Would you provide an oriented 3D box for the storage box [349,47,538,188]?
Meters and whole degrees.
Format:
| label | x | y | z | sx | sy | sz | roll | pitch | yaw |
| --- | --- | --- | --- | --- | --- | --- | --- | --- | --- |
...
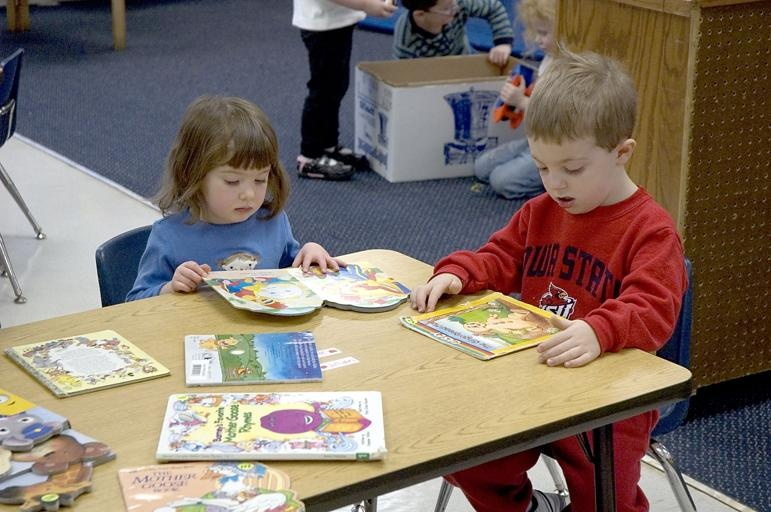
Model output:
| label | x | y | z | sx | sy | sz | roll | pitch | yaw |
| --- | --- | --- | --- | --- | --- | --- | --- | --- | --- |
| storage box | 0.262 | -1.100 | 4.095 | 1.256 | 0.661 | 0.853 | -10 | 28 | -19 |

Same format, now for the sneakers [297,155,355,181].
| label | x | y | z | sx | sy | sz | roll | pitch | yaw |
| --- | --- | --- | --- | --- | --- | --- | --- | --- | --- |
| sneakers | -0.378 | -0.572 | 4.125 | 0.398 | 0.161 | 0.137 | 2 | 28 | 4 |

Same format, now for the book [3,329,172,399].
| label | x | y | z | sx | sy | sz | roll | pitch | yaw |
| --- | --- | --- | --- | --- | --- | --- | --- | --- | --- |
| book | -0.548 | 0.196 | 1.157 | 0.146 | 0.012 | 0.155 | -12 | 25 | -36 |

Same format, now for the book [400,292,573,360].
| label | x | y | z | sx | sy | sz | roll | pitch | yaw |
| --- | --- | --- | --- | --- | --- | --- | --- | --- | --- |
| book | 0.210 | 0.147 | 1.310 | 0.170 | 0.018 | 0.158 | -20 | 28 | -35 |

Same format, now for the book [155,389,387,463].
| label | x | y | z | sx | sy | sz | roll | pitch | yaw |
| --- | --- | --- | --- | --- | --- | --- | --- | --- | --- |
| book | -0.178 | 0.270 | 1.004 | 0.245 | 0.023 | 0.137 | -1 | 21 | -2 |
